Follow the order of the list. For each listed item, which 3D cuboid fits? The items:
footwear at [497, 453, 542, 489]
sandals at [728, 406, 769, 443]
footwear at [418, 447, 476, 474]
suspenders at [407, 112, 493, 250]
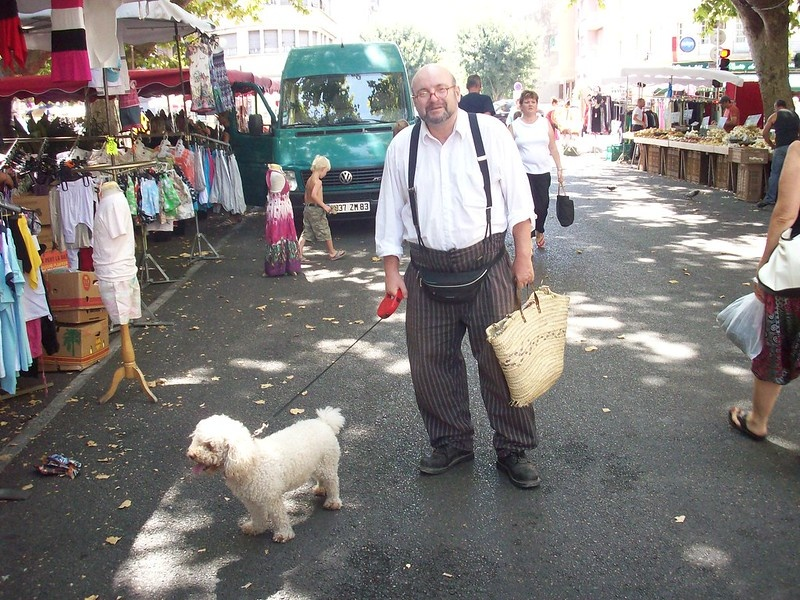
[{"bbox_3d":[0.831,1.169,4.109,0.141,0.163,0.314,-10,15,-34],"label":"footwear"},{"bbox_3d":[2.696,0.984,4.607,0.104,0.069,0.252,-25,38,-5],"label":"sandals"},{"bbox_3d":[0.323,1.159,4.267,0.402,0.203,0.155,-5,18,-17],"label":"footwear"},{"bbox_3d":[0.339,-0.830,3.944,0.417,0.946,0.455,4,16,12],"label":"suspenders"}]
